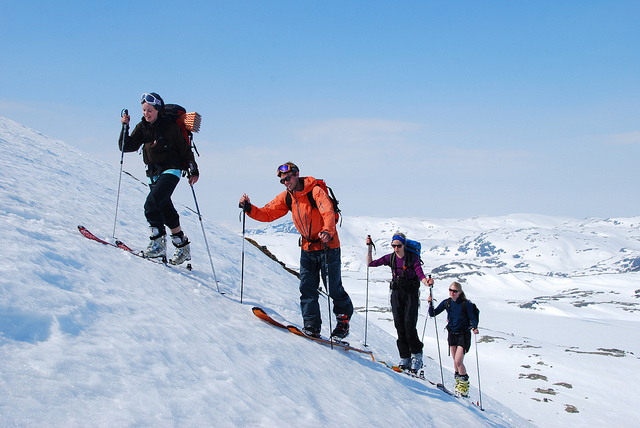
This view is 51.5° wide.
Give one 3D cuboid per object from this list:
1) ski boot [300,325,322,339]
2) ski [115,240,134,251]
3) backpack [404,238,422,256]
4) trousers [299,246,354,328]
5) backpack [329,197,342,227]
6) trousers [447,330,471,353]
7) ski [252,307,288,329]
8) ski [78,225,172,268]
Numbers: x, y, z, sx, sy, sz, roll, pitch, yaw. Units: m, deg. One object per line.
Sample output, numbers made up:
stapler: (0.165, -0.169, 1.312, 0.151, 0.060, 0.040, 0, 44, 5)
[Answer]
ski boot: (-0.261, 3.546, 20.145, 0.526, 0.335, 0.257, 13, 19, 23)
ski: (-6.235, 0.986, 21.020, 0.446, 0.107, 0.117, 34, 15, 3)
backpack: (3.097, 1.061, 22.321, 0.631, 0.631, 0.433, -24, -2, 7)
trousers: (0.109, 2.218, 20.338, 1.495, 2.520, 0.881, 1, -4, -9)
backpack: (0.442, -0.128, 19.774, 0.269, 0.678, 0.513, -1, 2, -10)
trousers: (4.983, 4.535, 23.833, 0.988, 0.908, 0.640, -7, -26, 35)
ski: (-1.581, 3.196, 20.327, 1.124, 0.168, 0.187, 22, -25, 6)
ski: (-6.085, 0.999, 20.424, 2.339, 0.175, 0.273, 28, 22, -11)
